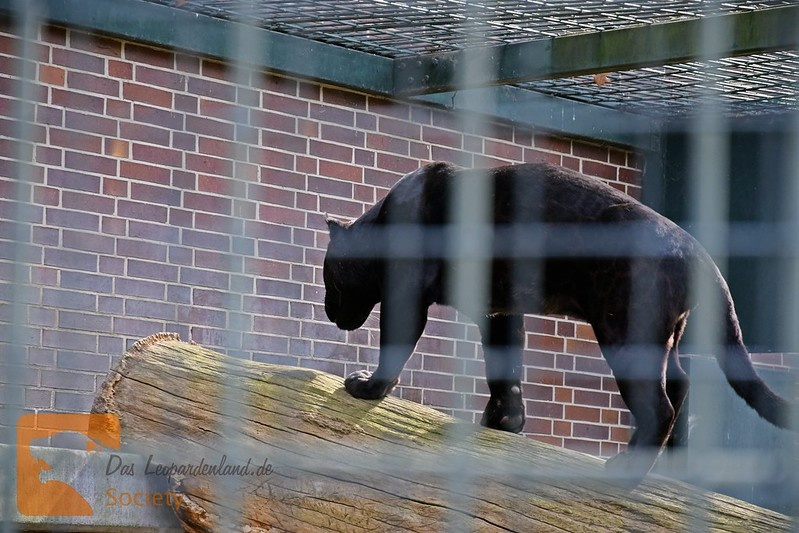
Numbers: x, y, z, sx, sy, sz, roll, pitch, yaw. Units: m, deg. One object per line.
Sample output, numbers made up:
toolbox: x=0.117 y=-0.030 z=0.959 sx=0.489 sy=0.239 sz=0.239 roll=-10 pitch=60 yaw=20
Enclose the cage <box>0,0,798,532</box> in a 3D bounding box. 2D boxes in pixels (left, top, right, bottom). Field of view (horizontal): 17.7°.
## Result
cage: x=-0.173 y=-0.031 z=16.529 sx=3.733 sy=2.912 sz=1.101 roll=1 pitch=-12 yaw=-2
